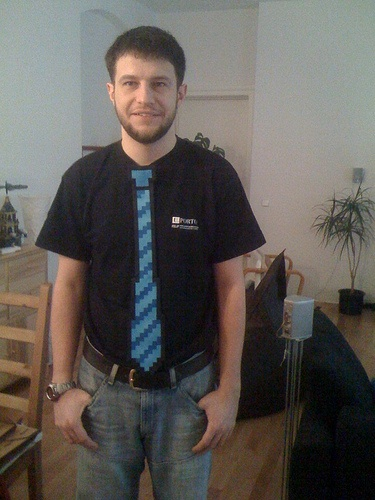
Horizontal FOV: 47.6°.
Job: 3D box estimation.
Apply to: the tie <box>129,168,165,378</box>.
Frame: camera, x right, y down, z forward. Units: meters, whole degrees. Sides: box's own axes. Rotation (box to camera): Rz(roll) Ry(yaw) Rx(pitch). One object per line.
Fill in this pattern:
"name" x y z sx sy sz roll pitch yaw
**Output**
"tie" -0.071 0.046 0.734 0.055 0.320 0.037 0 5 0
